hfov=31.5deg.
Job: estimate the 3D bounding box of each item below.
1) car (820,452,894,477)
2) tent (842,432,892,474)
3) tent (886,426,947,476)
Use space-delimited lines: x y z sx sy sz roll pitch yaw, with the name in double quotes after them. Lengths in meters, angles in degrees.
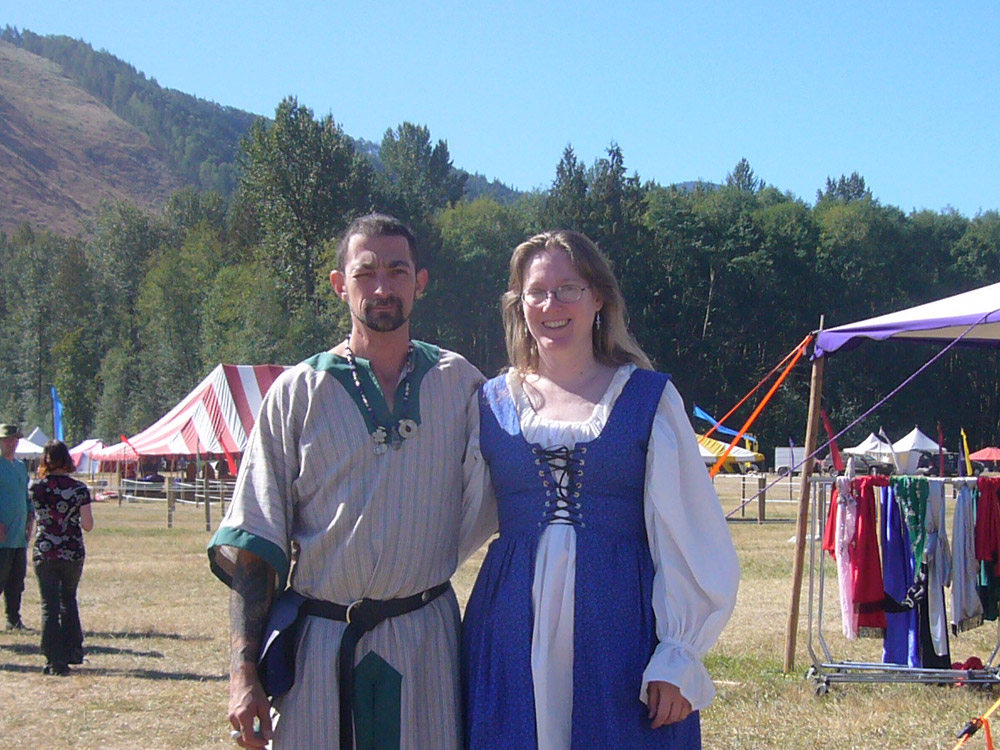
13.453 3.275 66.478 2.043 0.723 1.460 -1 0 -23 "car"
15.431 3.245 74.647 1.791 1.060 1.984 -1 -4 15 "tent"
17.982 3.259 76.659 2.216 1.968 2.335 -3 -2 35 "tent"
